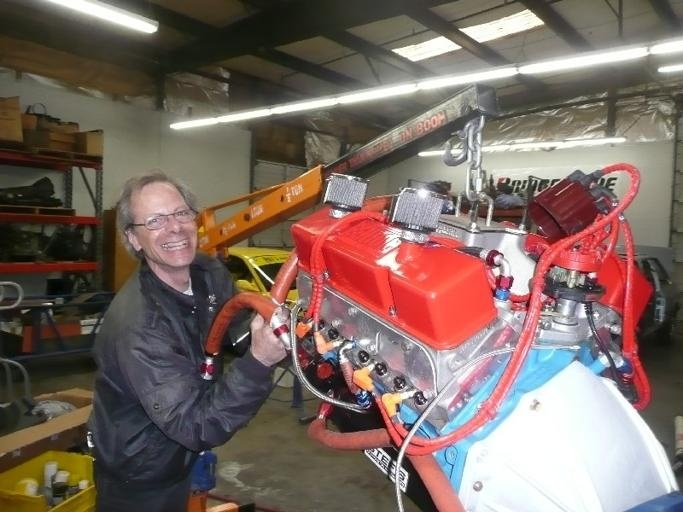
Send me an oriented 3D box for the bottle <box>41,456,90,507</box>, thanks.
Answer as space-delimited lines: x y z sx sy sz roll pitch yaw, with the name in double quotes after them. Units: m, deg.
-1.762 1.439 3.098 0.270 0.157 0.270 1 0 0 "bottle"
